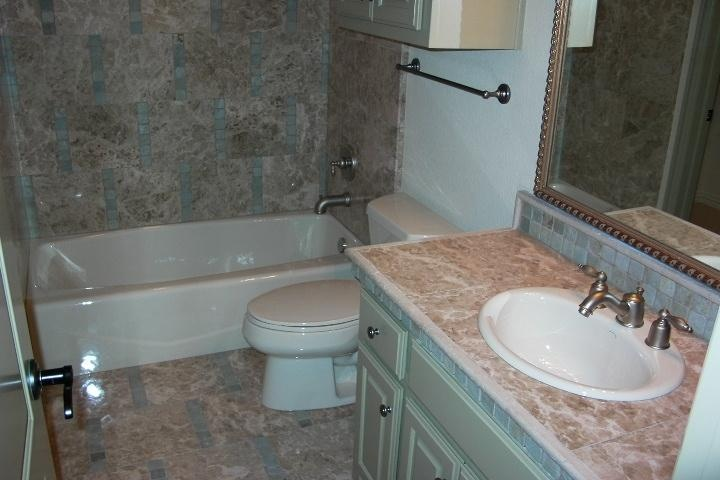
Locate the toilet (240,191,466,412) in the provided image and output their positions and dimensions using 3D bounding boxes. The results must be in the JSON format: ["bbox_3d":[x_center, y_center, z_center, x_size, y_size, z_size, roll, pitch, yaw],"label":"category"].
[{"bbox_3d":[-0.165,0.358,2.655,0.816,0.883,0.434,-3,22,-18],"label":"toilet"}]

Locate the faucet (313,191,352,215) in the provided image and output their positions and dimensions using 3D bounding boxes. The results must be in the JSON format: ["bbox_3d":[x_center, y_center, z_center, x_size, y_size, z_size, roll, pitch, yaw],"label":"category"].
[{"bbox_3d":[-0.158,-0.225,3.200,0.203,0.134,0.132,-2,20,-23],"label":"faucet"}]

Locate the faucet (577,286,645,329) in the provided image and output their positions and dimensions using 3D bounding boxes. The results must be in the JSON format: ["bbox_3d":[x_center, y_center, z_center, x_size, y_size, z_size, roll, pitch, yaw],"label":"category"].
[{"bbox_3d":[0.719,0.191,1.538,0.186,0.111,0.067,-4,23,-2],"label":"faucet"}]
